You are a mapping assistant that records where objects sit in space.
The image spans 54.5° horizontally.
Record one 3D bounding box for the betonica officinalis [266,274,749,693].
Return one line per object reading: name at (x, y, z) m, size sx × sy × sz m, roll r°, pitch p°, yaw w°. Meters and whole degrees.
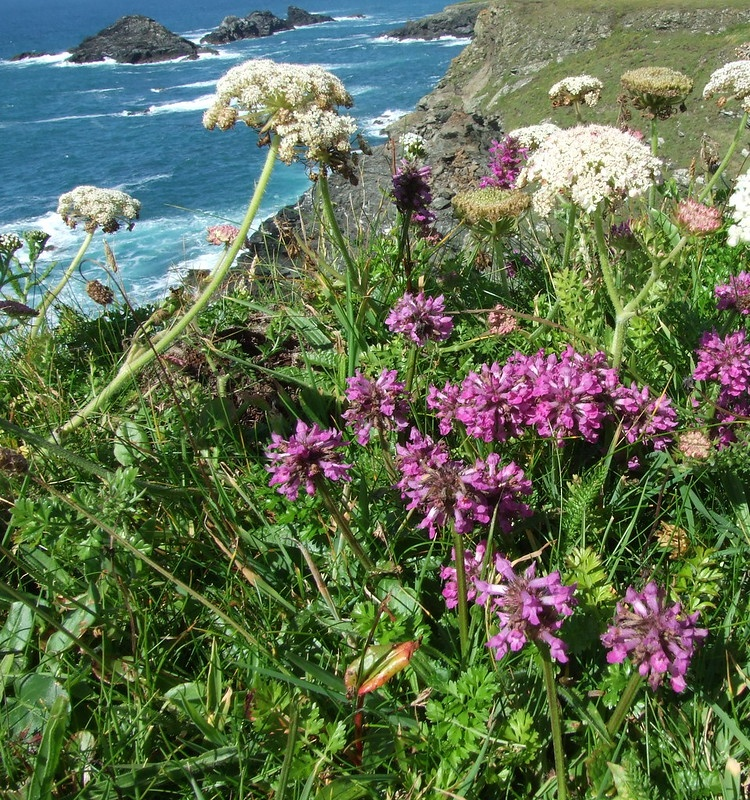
betonica officinalis at (0.454, 0.305, 2.475) m, size 1.476 × 0.712 × 1.279 m, roll 4°, pitch 65°, yaw 4°
